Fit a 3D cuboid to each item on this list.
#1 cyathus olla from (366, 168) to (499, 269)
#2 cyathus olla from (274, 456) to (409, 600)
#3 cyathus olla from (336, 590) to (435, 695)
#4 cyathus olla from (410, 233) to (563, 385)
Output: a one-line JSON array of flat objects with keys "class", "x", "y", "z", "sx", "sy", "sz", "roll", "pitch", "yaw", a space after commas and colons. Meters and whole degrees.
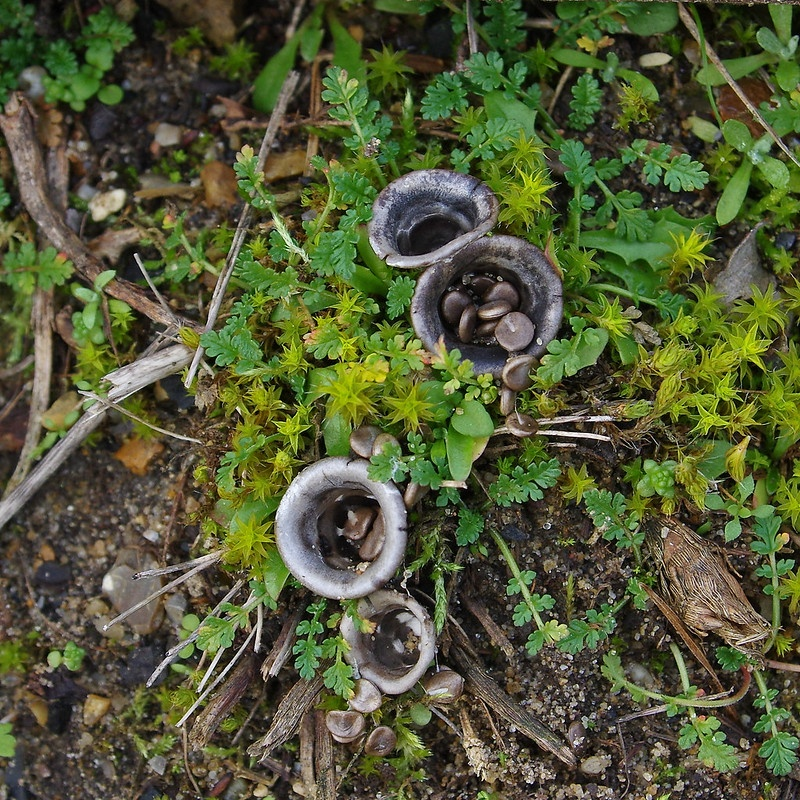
[{"class": "cyathus olla", "x": 0.121, "y": -0.742, "z": 3.444, "sx": 0.608, "sy": 0.475, "sz": 0.227, "roll": -15, "pitch": 72, "yaw": 4}, {"class": "cyathus olla", "x": -0.182, "y": 0.511, "z": 3.239, "sx": 0.569, "sy": 0.335, "sz": 0.495, "roll": 15, "pitch": 76, "yaw": 28}, {"class": "cyathus olla", "x": -0.062, "y": 0.947, "z": 3.263, "sx": 0.366, "sy": 0.401, "sz": 0.399, "roll": 27, "pitch": 81, "yaw": 4}, {"class": "cyathus olla", "x": 0.355, "y": -0.342, "z": 3.258, "sx": 0.584, "sy": 0.373, "sz": 0.507, "roll": -36, "pitch": 82, "yaw": -7}]
